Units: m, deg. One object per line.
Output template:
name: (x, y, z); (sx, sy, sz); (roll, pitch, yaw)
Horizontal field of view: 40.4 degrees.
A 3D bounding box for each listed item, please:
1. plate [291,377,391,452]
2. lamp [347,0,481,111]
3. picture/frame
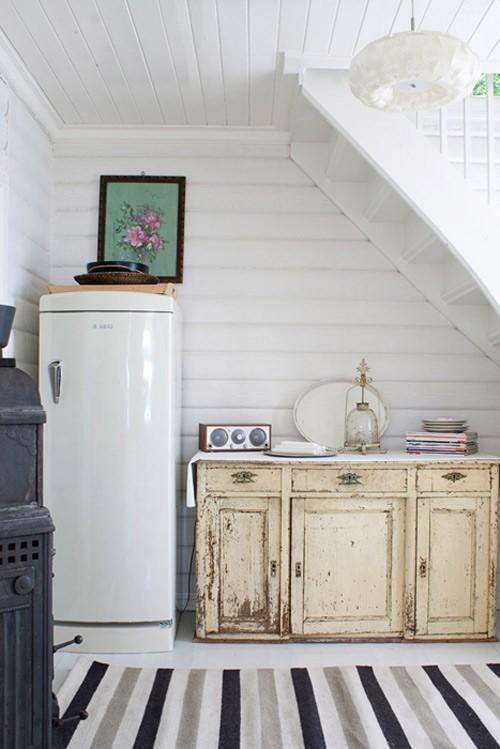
plate: (0.425, 0.180, 3.184); (0.442, 0.320, 0.144); (-1, 4, -15)
lamp: (0.465, -0.912, 1.964); (0.369, 0.223, 0.267); (2, 5, 23)
picture/frame: (-0.519, -0.673, 3.195); (0.506, 0.682, 0.027); (1, -4, -1)
